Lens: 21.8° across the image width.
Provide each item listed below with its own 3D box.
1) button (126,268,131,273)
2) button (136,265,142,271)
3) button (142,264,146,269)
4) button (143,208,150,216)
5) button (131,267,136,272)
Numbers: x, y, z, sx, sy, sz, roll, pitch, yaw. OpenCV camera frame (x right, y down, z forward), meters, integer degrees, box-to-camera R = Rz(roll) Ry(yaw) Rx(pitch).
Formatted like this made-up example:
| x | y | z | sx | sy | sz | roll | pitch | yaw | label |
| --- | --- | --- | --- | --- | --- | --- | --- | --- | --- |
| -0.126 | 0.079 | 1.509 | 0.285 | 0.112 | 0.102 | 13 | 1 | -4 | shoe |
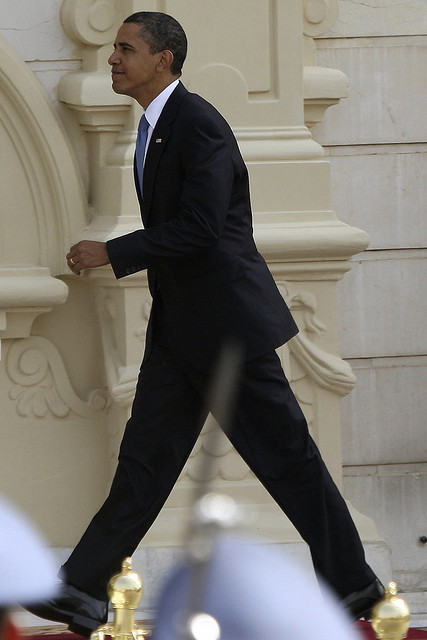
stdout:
| x | y | z | sx | sy | sz | roll | pitch | yaw | label |
| --- | --- | --- | --- | --- | --- | --- | --- | --- | --- |
| -0.259 | -0.145 | 3.326 | 0.020 | 0.004 | 0.013 | -1 | 97 | -5 | button |
| -0.226 | -0.151 | 3.334 | 0.017 | 0.038 | 0.006 | -23 | 73 | -11 | button |
| -0.211 | -0.158 | 3.318 | 0.015 | 0.003 | 0.009 | 0 | 107 | 4 | button |
| -0.211 | -0.331 | 3.449 | 0.019 | 0.031 | 0.025 | -7 | 67 | -5 | button |
| -0.243 | -0.150 | 3.328 | 0.019 | 0.004 | 0.012 | 0 | 97 | -7 | button |
